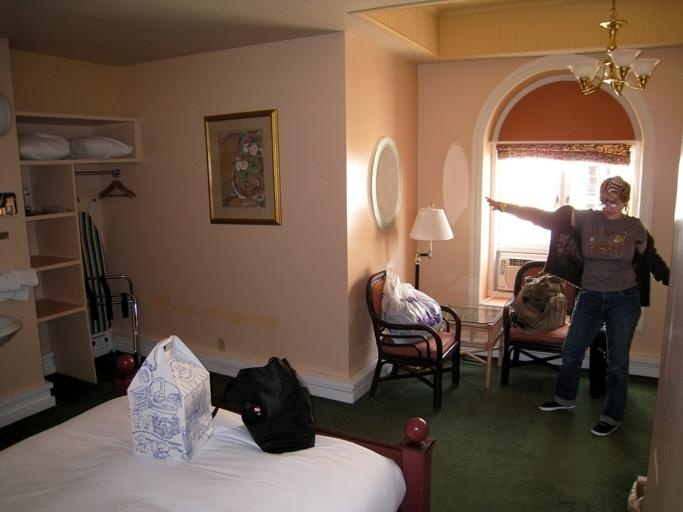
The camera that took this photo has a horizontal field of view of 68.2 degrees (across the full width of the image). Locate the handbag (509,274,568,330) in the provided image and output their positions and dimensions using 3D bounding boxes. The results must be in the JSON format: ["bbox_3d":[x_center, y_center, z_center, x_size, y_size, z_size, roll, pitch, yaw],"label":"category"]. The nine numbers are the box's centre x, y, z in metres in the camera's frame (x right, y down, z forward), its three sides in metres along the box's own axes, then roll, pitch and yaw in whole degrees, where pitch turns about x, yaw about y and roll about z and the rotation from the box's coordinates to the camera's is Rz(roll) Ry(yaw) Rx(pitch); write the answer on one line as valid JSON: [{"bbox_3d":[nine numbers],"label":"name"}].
[{"bbox_3d":[1.968,0.481,5.228,0.555,0.613,0.447,1,0,11],"label":"handbag"}]

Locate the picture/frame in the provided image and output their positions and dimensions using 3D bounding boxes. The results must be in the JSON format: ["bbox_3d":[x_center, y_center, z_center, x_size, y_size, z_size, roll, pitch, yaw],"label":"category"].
[{"bbox_3d":[-0.958,-0.927,5.073,1.064,1.321,0.055,3,12,26],"label":"picture/frame"}]

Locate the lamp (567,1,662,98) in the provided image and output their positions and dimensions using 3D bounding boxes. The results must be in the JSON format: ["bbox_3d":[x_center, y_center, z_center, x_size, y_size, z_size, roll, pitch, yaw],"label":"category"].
[{"bbox_3d":[2.417,-1.842,4.381,0.602,0.924,1.955,7,16,31],"label":"lamp"}]

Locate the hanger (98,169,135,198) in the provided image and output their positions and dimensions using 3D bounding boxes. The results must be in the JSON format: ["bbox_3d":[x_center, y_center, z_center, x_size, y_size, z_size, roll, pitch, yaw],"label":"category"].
[{"bbox_3d":[-2.612,-0.858,5.888,0.318,0.306,0.071,1,1,3],"label":"hanger"}]

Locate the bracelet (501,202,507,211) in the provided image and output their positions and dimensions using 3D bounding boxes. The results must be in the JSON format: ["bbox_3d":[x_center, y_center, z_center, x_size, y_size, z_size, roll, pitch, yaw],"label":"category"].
[{"bbox_3d":[1.516,-0.469,4.706,0.051,0.060,0.043,6,-3,7],"label":"bracelet"}]

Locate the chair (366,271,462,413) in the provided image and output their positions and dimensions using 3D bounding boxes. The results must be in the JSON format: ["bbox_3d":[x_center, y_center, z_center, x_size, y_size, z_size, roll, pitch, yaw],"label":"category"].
[{"bbox_3d":[0.747,0.686,5.462,1.078,1.667,1.239,1,6,24],"label":"chair"}]

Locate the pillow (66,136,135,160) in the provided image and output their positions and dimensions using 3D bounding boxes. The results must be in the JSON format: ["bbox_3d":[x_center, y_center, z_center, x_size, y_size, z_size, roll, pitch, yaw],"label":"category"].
[{"bbox_3d":[-2.472,-1.078,5.088,0.332,0.111,0.325,4,5,12],"label":"pillow"}]

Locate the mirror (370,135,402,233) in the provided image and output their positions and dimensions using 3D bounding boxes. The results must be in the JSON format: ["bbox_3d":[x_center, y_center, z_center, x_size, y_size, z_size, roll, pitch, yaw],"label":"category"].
[{"bbox_3d":[0.446,-0.762,5.214,0.067,0.926,0.884,3,11,23],"label":"mirror"}]

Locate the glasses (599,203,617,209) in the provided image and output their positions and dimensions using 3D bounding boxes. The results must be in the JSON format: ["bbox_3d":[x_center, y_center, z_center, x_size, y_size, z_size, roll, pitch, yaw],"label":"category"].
[{"bbox_3d":[2.179,-0.415,4.154,0.074,0.057,0.167,-2,14,-6],"label":"glasses"}]

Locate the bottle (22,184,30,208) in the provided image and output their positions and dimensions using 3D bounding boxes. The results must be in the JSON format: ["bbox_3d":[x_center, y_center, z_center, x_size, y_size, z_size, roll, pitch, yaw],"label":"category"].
[{"bbox_3d":[-3.154,-0.582,5.062,0.049,0.240,0.492,-8,16,-30],"label":"bottle"}]

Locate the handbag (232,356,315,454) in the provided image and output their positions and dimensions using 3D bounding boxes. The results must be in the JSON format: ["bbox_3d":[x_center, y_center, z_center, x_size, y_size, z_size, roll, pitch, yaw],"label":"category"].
[{"bbox_3d":[-0.309,0.888,3.050,0.529,0.557,0.397,-7,-5,16],"label":"handbag"}]
